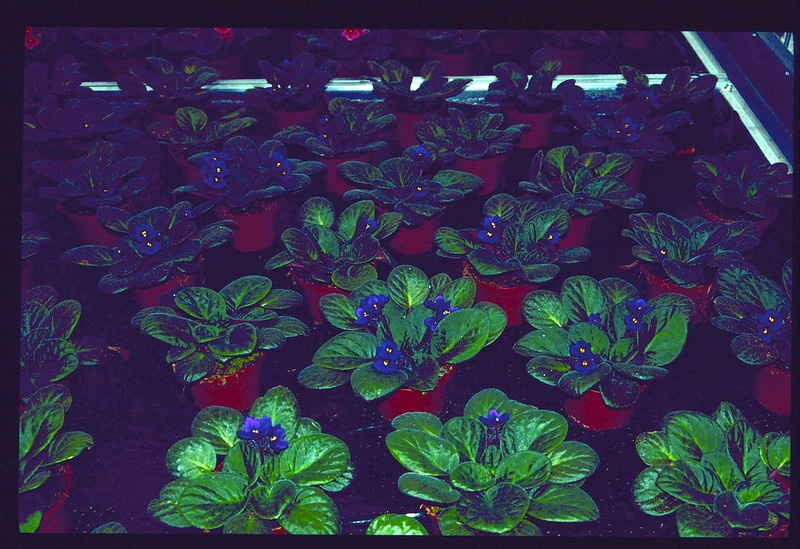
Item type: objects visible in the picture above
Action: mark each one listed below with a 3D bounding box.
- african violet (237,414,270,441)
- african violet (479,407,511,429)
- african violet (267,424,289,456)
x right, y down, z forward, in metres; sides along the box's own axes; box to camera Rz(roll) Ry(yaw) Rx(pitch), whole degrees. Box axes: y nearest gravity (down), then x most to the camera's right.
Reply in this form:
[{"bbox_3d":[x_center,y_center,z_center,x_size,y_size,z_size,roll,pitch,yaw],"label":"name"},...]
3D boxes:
[{"bbox_3d":[-0.388,0.408,2.020,0.091,0.037,0.052,0,46,-4],"label":"african violet"},{"bbox_3d":[0.253,0.385,2.025,0.078,0.027,0.045,9,47,5],"label":"african violet"},{"bbox_3d":[-0.326,0.436,2.015,0.046,0.037,0.061,-15,49,-17],"label":"african violet"}]
